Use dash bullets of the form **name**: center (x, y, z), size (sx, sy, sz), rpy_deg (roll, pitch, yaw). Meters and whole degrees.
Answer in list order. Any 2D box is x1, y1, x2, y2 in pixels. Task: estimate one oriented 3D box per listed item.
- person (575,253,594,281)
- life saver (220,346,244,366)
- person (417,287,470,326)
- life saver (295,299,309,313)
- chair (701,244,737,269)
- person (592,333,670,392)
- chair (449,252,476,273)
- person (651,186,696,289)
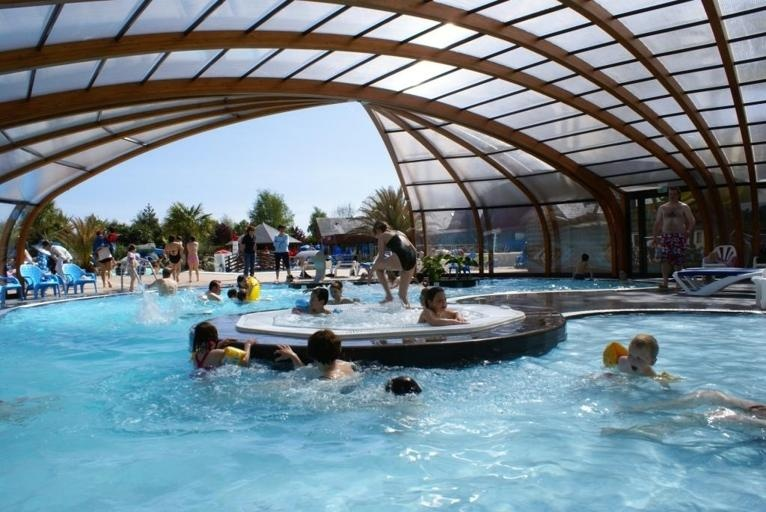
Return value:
- **person**: center (8.236, 0.361, 19.530), size (0.636, 0.862, 1.399), rpy_deg (2, 10, 23)
- **life saver**: center (-2.049, 1.399, 6.546), size (0.284, 0.213, 0.213), rpy_deg (13, -28, -9)
- **person**: center (0.916, 0.773, 7.578), size (0.722, 0.536, 0.701), rpy_deg (-3, 9, -1)
- **life saver**: center (-1.492, 0.925, 8.977), size (0.244, 0.220, 0.237), rpy_deg (0, -8, 18)
- **chair**: center (10.209, -0.029, 14.384), size (0.840, 0.656, 0.781), rpy_deg (-6, 3, -41)
- **person**: center (3.252, 1.349, 6.080), size (0.952, 0.559, 1.225), rpy_deg (15, 8, 25)
- **chair**: center (3.215, 0.274, 19.081), size (1.117, 0.470, 1.100), rpy_deg (1, 1, 3)
- **person**: center (7.718, -0.479, 12.703), size (0.858, 2.722, 1.456), rpy_deg (3, 11, 30)
